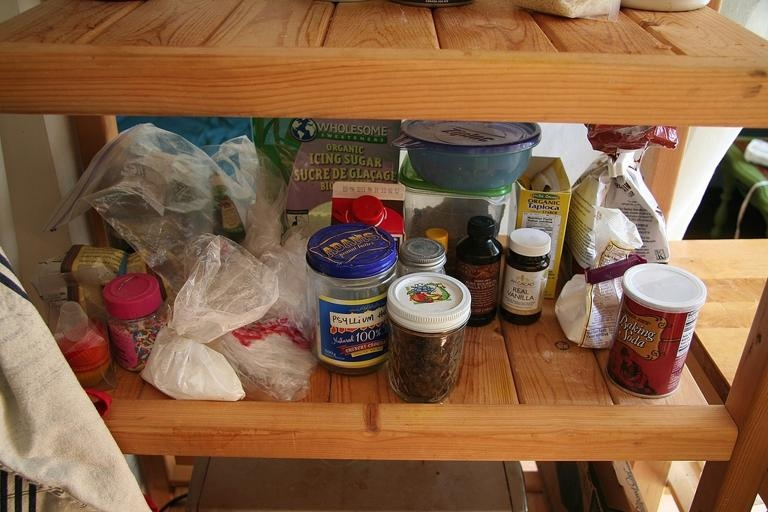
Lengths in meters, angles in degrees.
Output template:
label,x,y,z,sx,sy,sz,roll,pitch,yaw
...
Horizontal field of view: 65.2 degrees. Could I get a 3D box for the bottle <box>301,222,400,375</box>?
label,x,y,z,sx,sy,sz,roll,pitch,yaw
bottle,-0.058,0.073,0.998,0.144,0.212,0.142,3,32,-2

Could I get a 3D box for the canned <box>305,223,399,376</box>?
label,x,y,z,sx,sy,sz,roll,pitch,yaw
canned,-0.057,0.074,0.995,0.139,0.207,0.140,3,32,3

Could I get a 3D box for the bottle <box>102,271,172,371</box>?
label,x,y,z,sx,sy,sz,roll,pitch,yaw
bottle,-0.415,0.112,0.983,0.089,0.138,0.085,7,28,-4

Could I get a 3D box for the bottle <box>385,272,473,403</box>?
label,x,y,z,sx,sy,sz,roll,pitch,yaw
bottle,0.072,0.135,0.971,0.132,0.183,0.126,-1,27,0

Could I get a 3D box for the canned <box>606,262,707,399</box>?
label,x,y,z,sx,sy,sz,roll,pitch,yaw
canned,0.442,0.121,0.976,0.124,0.182,0.116,-8,30,-10

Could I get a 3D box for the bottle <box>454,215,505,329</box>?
label,x,y,z,sx,sy,sz,roll,pitch,yaw
bottle,0.175,0.025,1.079,0.089,0.180,0.087,-4,25,2

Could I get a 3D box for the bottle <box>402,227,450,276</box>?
label,x,y,z,sx,sy,sz,roll,pitch,yaw
bottle,0.070,-0.016,1.026,0.065,0.073,0.079,-1,40,-1

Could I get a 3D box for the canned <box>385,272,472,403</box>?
label,x,y,z,sx,sy,sz,roll,pitch,yaw
canned,0.065,0.138,0.977,0.134,0.191,0.138,-21,36,-31

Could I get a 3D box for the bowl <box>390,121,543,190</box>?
label,x,y,z,sx,sy,sz,roll,pitch,yaw
bowl,0.148,-0.189,1.085,0.186,0.064,0.158,-3,30,-1
